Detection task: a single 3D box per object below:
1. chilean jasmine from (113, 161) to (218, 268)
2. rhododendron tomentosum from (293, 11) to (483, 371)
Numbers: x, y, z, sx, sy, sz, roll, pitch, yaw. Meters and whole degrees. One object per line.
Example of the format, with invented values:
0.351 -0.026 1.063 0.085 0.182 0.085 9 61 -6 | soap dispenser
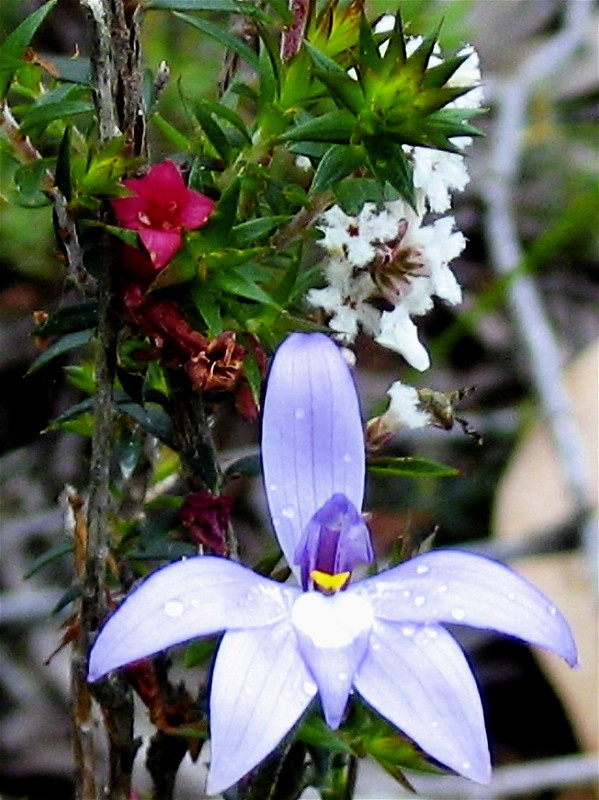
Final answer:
-0.065 -0.089 0.620 0.046 0.052 0.037 -3 15 -6 | chilean jasmine
0.049 -0.120 0.690 0.086 0.173 0.166 0 41 8 | rhododendron tomentosum
